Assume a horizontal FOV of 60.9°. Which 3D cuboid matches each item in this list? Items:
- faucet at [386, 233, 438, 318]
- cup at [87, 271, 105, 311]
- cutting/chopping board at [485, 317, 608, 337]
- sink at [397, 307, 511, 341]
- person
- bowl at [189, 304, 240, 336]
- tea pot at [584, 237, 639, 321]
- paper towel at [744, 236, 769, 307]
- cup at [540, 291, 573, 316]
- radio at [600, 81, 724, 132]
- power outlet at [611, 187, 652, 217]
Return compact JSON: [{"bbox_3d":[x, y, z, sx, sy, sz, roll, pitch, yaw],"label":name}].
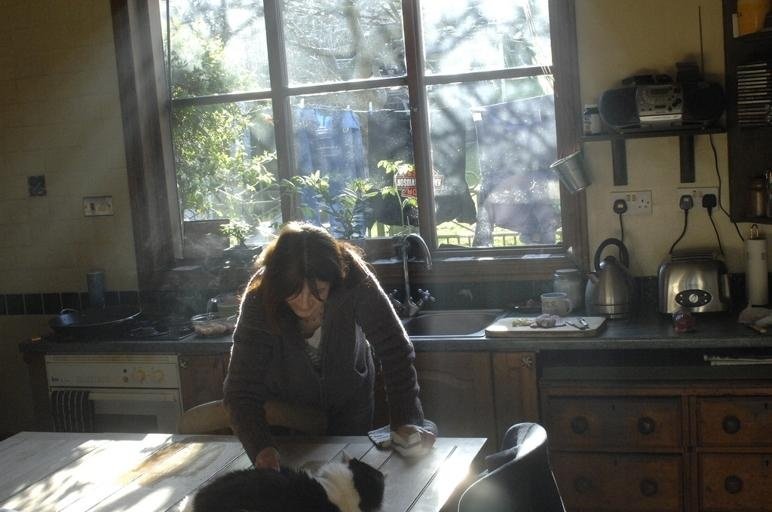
[{"bbox_3d":[0.144,0.106,4.056,0.296,0.501,0.301,5,23,18],"label":"faucet"},{"bbox_3d":[-1.949,0.228,4.408,0.111,0.237,0.213,-7,7,-22],"label":"cup"},{"bbox_3d":[0.851,0.379,3.522,0.605,0.070,0.282,-2,6,18],"label":"cutting/chopping board"},{"bbox_3d":[0.379,0.404,3.855,0.443,0.179,0.477,-4,3,10],"label":"sink"},{"bbox_3d":[-0.314,0.286,3.011,0.795,1.062,0.724,-1,10,-17],"label":"person"},{"bbox_3d":[-1.036,0.388,3.912,0.217,0.085,0.218,-3,1,0],"label":"bowl"},{"bbox_3d":[1.256,0.149,3.724,0.304,0.419,0.257,6,20,14],"label":"tea pot"},{"bbox_3d":[2.039,0.085,3.564,0.223,0.357,0.099,-7,7,-24],"label":"paper towel"},{"bbox_3d":[0.937,0.270,3.650,0.161,0.108,0.110,1,2,40],"label":"cup"},{"bbox_3d":[1.508,-0.796,3.635,0.633,0.266,0.208,0,-8,14],"label":"radio"},{"bbox_3d":[1.420,-0.312,3.781,0.176,0.122,0.024,1,4,18],"label":"power outlet"}]
